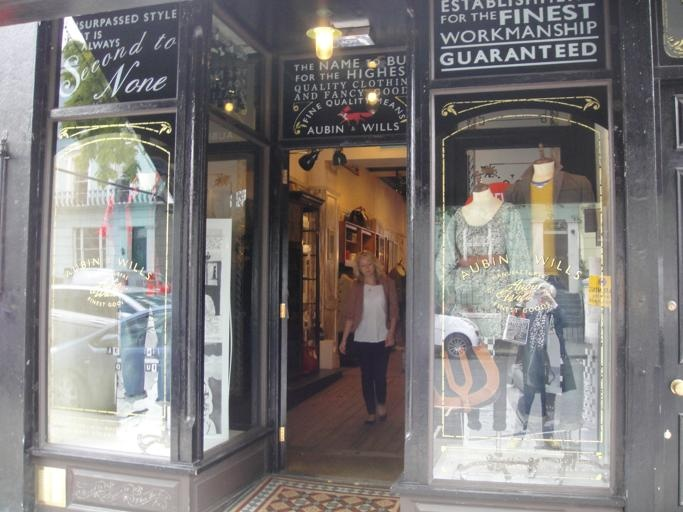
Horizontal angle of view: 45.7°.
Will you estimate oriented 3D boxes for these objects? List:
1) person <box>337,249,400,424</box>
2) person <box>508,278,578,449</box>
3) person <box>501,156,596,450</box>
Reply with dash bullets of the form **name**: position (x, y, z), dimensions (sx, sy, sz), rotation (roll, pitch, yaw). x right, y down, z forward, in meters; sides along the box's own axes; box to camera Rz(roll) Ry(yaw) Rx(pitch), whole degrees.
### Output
- **person**: position (0.248, 0.734, 7.274), dimensions (0.487, 1.532, 0.430), rotation (3, 4, 0)
- **person**: position (1.228, 0.635, 4.866), dimensions (0.353, 0.999, 0.107), rotation (4, 4, 11)
- **person**: position (1.285, 0.282, 5.074), dimensions (0.536, 1.905, 0.371), rotation (6, 18, 26)
